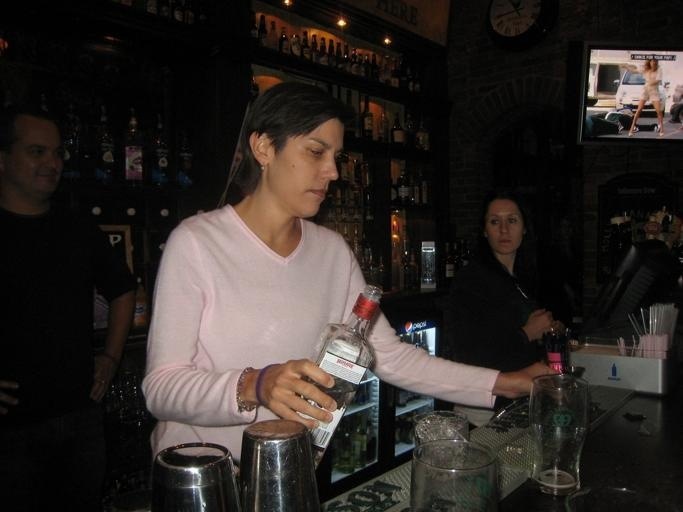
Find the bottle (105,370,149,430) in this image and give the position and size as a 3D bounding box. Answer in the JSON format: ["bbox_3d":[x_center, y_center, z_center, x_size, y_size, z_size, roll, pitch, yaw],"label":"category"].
[{"bbox_3d":[-1.131,0.766,3.014,0.268,0.284,0.274,0,-5,3],"label":"bottle"}]

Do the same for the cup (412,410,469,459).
[{"bbox_3d":[0.293,0.512,1.668,0.147,0.101,0.144,-1,-7,0],"label":"cup"}]

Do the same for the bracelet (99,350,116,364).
[{"bbox_3d":[-1.128,0.491,2.759,0.080,0.042,0.057,27,16,16],"label":"bracelet"}]

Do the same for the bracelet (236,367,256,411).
[{"bbox_3d":[-0.273,0.376,1.574,0.033,0.091,0.073,-2,-2,-25],"label":"bracelet"}]

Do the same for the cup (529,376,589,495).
[{"bbox_3d":[0.632,0.511,1.660,0.162,0.327,0.147,2,5,9],"label":"cup"}]
